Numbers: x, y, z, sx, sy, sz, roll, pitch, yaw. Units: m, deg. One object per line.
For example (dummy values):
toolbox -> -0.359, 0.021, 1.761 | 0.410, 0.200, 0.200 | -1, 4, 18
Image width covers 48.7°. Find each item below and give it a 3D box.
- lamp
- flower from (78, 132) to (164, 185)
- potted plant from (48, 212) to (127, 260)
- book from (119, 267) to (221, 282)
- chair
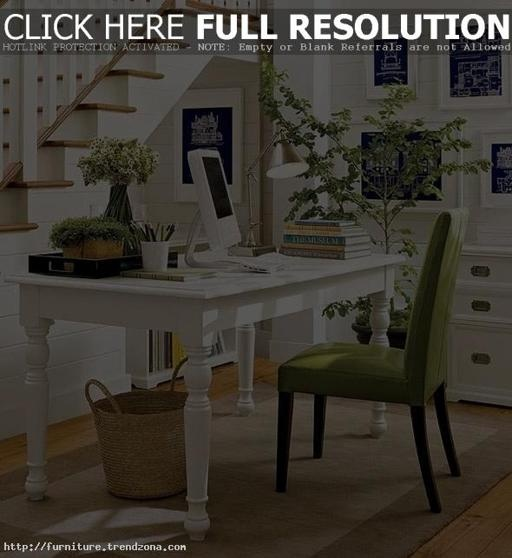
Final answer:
lamp -> 0.057, -0.364, 2.372 | 0.287, 0.525, 0.164 | -1, -6, 30
flower -> -0.451, -0.382, 1.901 | 0.217, 0.183, 0.231 | 10, 10, -15
potted plant -> -0.501, -0.125, 1.771 | 0.155, 0.129, 0.153 | 5, 5, 39
book -> -0.261, -0.011, 1.693 | 0.293, 0.033, 0.195 | 0, 2, -11
chair -> 0.408, 0.236, 1.989 | 0.499, 0.967, 0.499 | 4, 1, 19
